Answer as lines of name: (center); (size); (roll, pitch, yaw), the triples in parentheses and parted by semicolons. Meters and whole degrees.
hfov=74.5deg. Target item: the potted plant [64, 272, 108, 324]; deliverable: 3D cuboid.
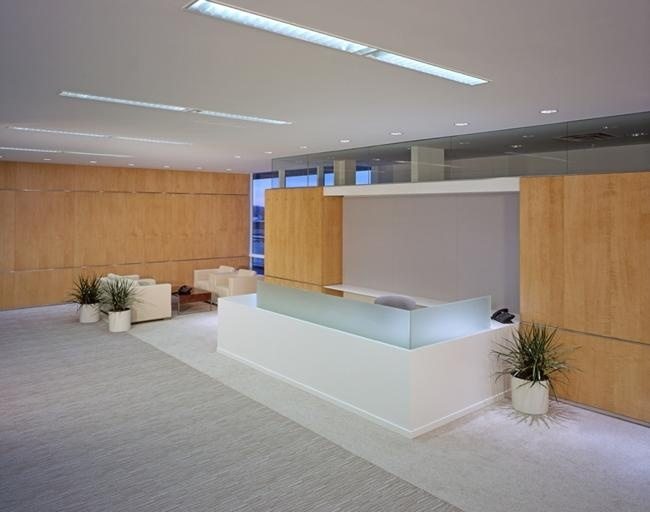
potted plant: (-5.324, 0.992, 10.054); (1.275, 1.321, 1.227); (-1, 3, -27)

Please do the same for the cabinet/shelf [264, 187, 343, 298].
cabinet/shelf: (-0.381, -0.306, 9.069); (0.930, 2.794, 2.466); (-1, 1, -37)

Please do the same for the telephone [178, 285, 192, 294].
telephone: (-3.560, 0.886, 10.822); (0.253, 0.089, 0.305); (-4, 4, -22)

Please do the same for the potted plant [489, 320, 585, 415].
potted plant: (2.651, 1.435, 5.717); (1.075, 1.018, 1.010); (0, 2, -11)

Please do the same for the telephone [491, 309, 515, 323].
telephone: (2.501, 0.843, 5.936); (0.204, 0.092, 0.238); (-12, 8, -10)
